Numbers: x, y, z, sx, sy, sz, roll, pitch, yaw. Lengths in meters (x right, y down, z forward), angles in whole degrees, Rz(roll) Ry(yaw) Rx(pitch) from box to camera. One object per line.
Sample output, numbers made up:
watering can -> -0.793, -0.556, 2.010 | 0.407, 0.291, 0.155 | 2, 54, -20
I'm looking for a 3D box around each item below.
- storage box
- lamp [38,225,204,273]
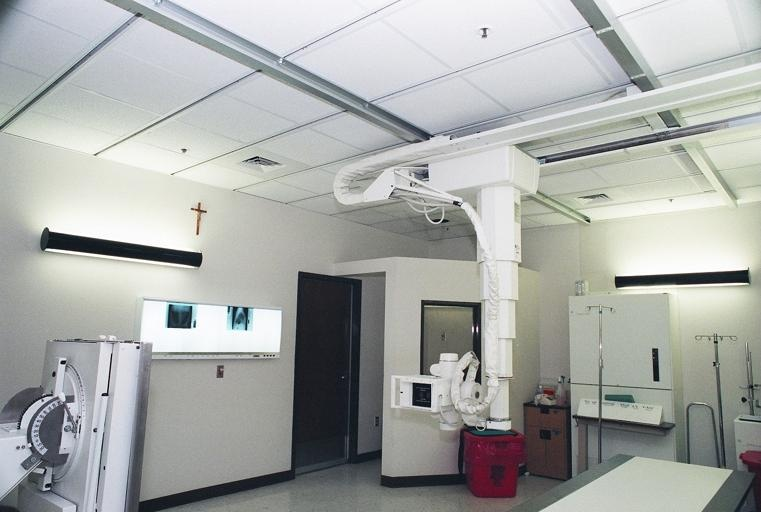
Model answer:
storage box -> 1.580, 2.889, 7.342 | 0.778, 0.810, 1.009 | 4, -7, -15
lamp -> -3.221, 0.041, 6.600 | 0.398, 0.382, 2.152 | -14, -14, 29
